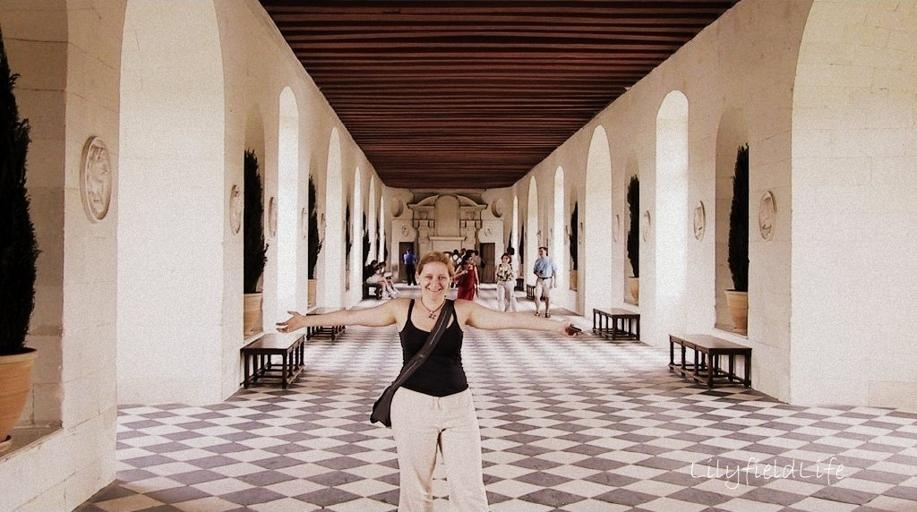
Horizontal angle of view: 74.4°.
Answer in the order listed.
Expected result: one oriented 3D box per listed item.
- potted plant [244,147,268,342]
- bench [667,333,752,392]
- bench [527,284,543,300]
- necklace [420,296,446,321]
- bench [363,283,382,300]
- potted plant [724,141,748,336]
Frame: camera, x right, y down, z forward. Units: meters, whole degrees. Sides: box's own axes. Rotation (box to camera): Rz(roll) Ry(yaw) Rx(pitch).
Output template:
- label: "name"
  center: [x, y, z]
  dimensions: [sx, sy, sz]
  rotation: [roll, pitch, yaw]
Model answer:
- label: "potted plant"
  center: [-3.751, -0.256, 11.054]
  dimensions: [0.474, 3.354, 0.953]
  rotation: [3, -1, -19]
- label: "bench"
  center: [4.492, 1.857, 10.888]
  dimensions: [0.892, 0.590, 1.467]
  rotation: [2, -1, -7]
- label: "bench"
  center: [2.759, 1.304, 21.888]
  dimensions: [0.622, 0.592, 1.035]
  rotation: [0, 1, 5]
- label: "necklace"
  center: [-0.263, 0.492, 5.812]
  dimensions: [0.211, 0.255, 0.103]
  rotation: [1, 37, 5]
- label: "bench"
  center: [-3.347, 1.424, 23.876]
  dimensions: [1.084, 0.616, 0.580]
  rotation: [1, 7, 6]
- label: "potted plant"
  center: [5.026, -0.290, 10.815]
  dimensions: [0.336, 2.221, 0.524]
  rotation: [2, -1, 23]
